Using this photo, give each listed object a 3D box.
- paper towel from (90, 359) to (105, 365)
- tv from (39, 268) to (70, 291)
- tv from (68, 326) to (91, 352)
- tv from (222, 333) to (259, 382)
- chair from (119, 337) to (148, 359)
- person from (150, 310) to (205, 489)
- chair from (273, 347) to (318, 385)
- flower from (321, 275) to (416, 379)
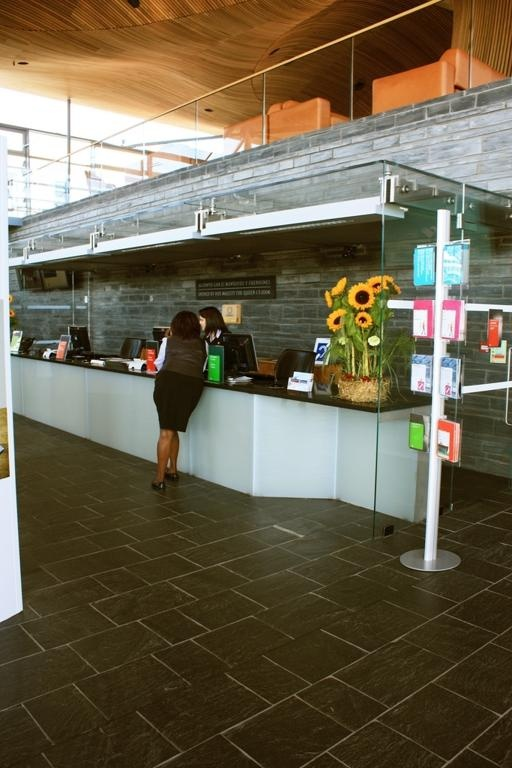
[{"bbox_3d":[-1.892,-0.253,6.772,0.159,0.058,0.819,-1,4,-16],"label":"paper towel"},{"bbox_3d":[-3.592,-1.865,10.182,0.414,0.407,0.399,0,2,18],"label":"tv"},{"bbox_3d":[-2.575,-0.652,8.238,0.390,0.382,0.154,6,15,33],"label":"tv"},{"bbox_3d":[-0.170,-0.247,5.422,0.439,0.446,0.169,13,23,38],"label":"tv"},{"bbox_3d":[-1.871,-0.541,8.574,0.350,0.433,0.644,0,7,-32],"label":"chair"},{"bbox_3d":[-0.675,0.117,4.999,0.464,1.521,0.449,0,3,-6],"label":"person"},{"bbox_3d":[0.370,-0.180,5.708,0.370,0.457,0.367,2,0,44],"label":"chair"},{"bbox_3d":[0.772,-0.360,4.076,0.601,0.845,0.559,-14,-19,37],"label":"flower"}]
